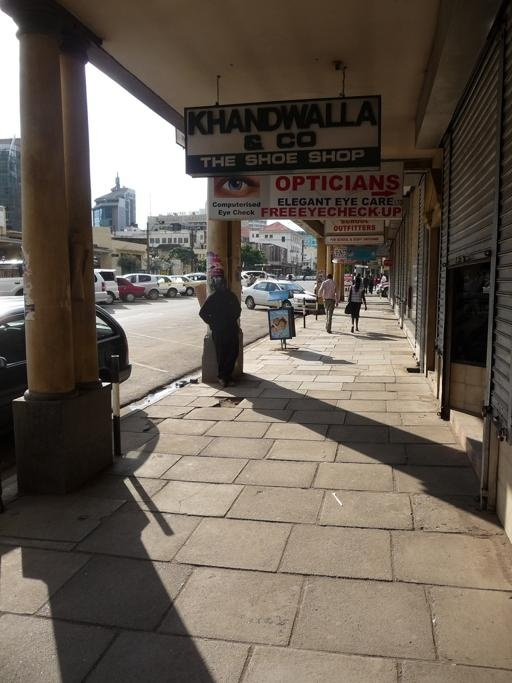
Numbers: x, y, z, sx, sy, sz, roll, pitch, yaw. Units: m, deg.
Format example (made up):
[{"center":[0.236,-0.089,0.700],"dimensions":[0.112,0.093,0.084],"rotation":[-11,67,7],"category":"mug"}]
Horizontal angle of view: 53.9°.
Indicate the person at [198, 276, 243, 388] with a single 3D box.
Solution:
[{"center":[-0.604,-0.199,8.595],"dimensions":[0.713,1.873,0.444],"rotation":[-1,4,-13],"category":"person"}]
